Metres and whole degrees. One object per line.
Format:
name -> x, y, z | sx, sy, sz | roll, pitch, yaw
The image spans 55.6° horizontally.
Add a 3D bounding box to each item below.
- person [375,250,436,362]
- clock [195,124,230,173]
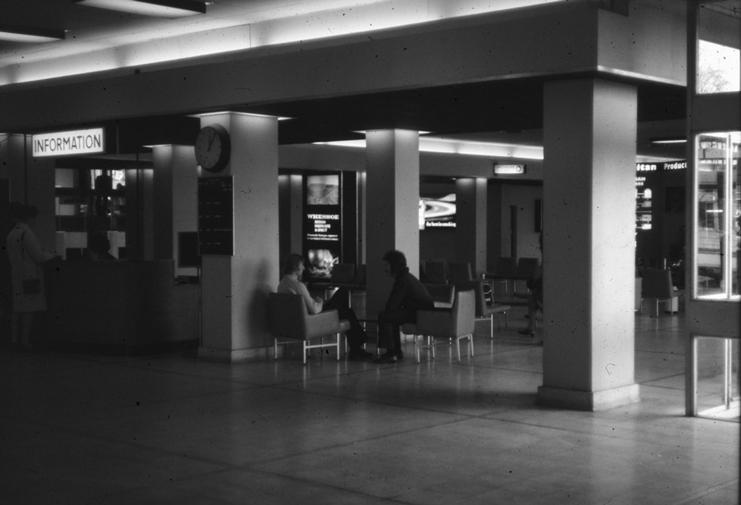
person -> 0.549, 0.895, 11.601 | 0.833, 1.797, 0.401 | 0, 2, 1
clock -> -2.523, -1.665, 11.327 | 0.199, 0.750, 0.714 | 2, 5, -44
